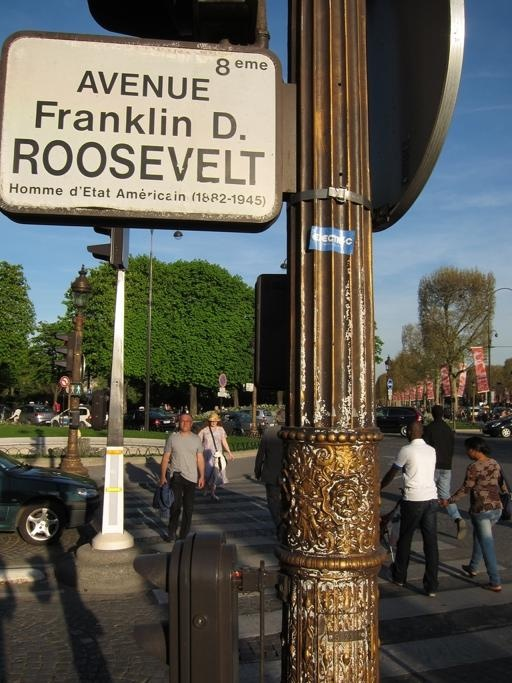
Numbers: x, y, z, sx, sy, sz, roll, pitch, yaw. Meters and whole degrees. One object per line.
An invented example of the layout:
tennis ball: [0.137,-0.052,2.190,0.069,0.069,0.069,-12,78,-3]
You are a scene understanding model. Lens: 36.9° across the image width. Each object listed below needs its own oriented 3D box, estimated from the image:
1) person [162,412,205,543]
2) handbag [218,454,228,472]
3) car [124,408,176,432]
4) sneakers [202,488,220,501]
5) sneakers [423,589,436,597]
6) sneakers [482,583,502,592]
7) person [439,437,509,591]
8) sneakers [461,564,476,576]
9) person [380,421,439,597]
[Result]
person: [-0.852,1.569,8.957,0.428,1.455,0.705,-4,-5,13]
handbag: [-0.565,2.018,13.035,0.085,0.269,0.279,-3,-5,6]
car: [-5.485,3.822,38.131,2.530,0.977,1.126,3,2,30]
sneakers: [-0.788,2.694,13.572,0.175,0.259,0.559,1,-14,-17]
sneakers: [1.565,2.220,6.851,0.038,0.057,0.122,3,-3,-6]
sneakers: [2.178,2.210,7.027,0.057,0.075,0.167,1,-1,-24]
person: [2.291,1.646,7.738,0.578,1.397,1.523,-4,-5,13]
sneakers: [2.143,2.258,7.641,0.048,0.064,0.139,-2,11,-17]
person: [1.461,1.517,7.198,0.517,1.521,1.234,-4,-5,12]
